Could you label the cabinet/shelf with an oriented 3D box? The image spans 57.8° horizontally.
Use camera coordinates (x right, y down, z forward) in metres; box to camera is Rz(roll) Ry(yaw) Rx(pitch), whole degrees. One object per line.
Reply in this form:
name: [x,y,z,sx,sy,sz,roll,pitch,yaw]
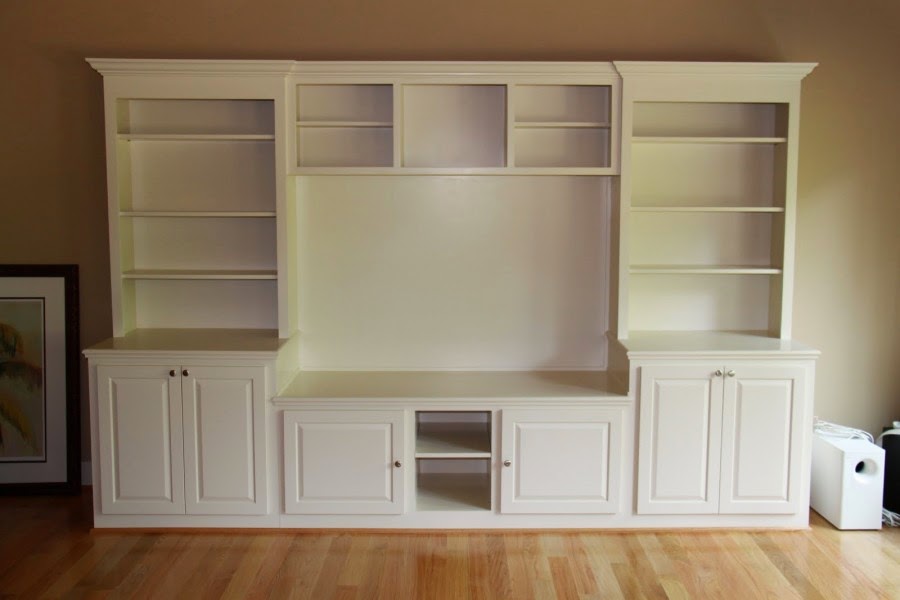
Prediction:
cabinet/shelf: [-0.021,-0.087,5.255,3.172,2.056,0.613,0,4,0]
